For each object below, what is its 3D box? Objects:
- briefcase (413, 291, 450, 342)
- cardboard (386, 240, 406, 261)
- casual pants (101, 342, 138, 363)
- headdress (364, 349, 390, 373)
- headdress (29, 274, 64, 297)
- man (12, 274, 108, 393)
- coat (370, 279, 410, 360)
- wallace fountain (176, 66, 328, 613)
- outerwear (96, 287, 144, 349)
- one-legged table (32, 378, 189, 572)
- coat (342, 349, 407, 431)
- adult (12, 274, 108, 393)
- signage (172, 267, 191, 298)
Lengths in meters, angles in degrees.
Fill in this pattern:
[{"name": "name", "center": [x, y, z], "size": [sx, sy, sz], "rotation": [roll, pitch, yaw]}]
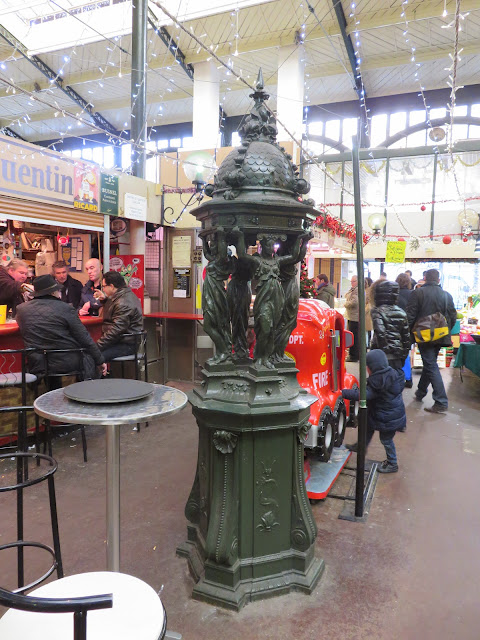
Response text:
[{"name": "briefcase", "center": [2.443, 0.032, 6.610], "size": [0.470, 0.672, 0.365], "rotation": [0, 1, 9]}, {"name": "cardboard", "center": [2.701, -1.195, 8.923], "size": [0.286, 0.371, 0.444], "rotation": [3, 4, 13]}, {"name": "casual pants", "center": [-1.256, 0.322, 5.383], "size": [0.340, 0.100, 0.194], "rotation": [-16, 9, -33]}, {"name": "headdress", "center": [1.107, 0.338, 4.168], "size": [0.157, 0.217, 0.212], "rotation": [-1, -2, 15]}, {"name": "headdress", "center": [-1.685, -0.296, 4.521], "size": [0.187, 0.115, 0.216], "rotation": [9, 25, 24]}, {"name": "man", "center": [-1.581, 0.282, 4.742], "size": [0.626, 1.351, 0.783], "rotation": [-2, 8, 9]}, {"name": "coat", "center": [1.503, 0.055, 5.085], "size": [0.416, 0.887, 0.321], "rotation": [2, 4, 0]}, {"name": "wallace fountain", "center": [0.082, -0.003, 2.636], "size": [0.775, 2.693, 0.728], "rotation": [3, 4, 15]}, {"name": "outerwear", "center": [-1.199, -0.047, 5.521], "size": [0.472, 0.701, 0.829], "rotation": [6, 7, 0]}, {"name": "one-legged table", "center": [-0.788, 0.977, 3.089], "size": [0.844, 1.365, 0.917], "rotation": [-2, 6, -33]}, {"name": "coat", "center": [1.190, 0.593, 4.210], "size": [0.315, 0.671, 0.272], "rotation": [3, 4, 17]}, {"name": "adult", "center": [-1.571, 0.267, 4.736], "size": [0.613, 1.396, 0.777], "rotation": [-3, 7, 7]}, {"name": "signage", "center": [-0.838, -0.553, 7.446], "size": [0.378, 0.571, 0.056], "rotation": [4, 6, 25]}]
